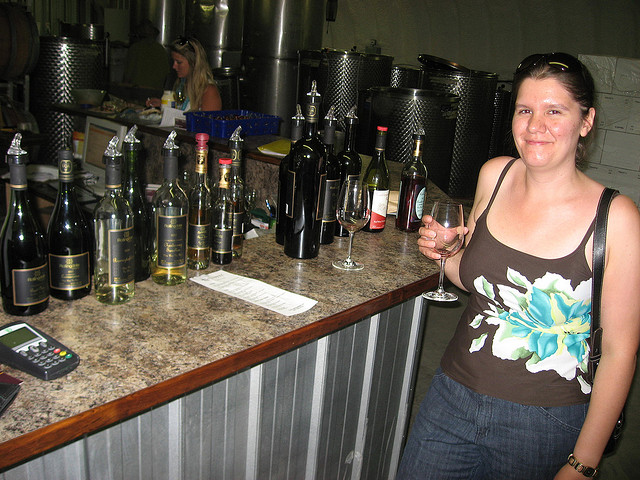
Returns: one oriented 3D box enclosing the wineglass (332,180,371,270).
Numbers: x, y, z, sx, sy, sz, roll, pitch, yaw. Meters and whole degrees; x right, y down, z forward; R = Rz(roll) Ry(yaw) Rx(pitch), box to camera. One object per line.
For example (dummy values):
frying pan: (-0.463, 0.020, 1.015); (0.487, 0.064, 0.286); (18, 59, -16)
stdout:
wineglass: (0.116, -0.073, 2.102); (0.130, 0.355, 0.195); (0, 18, -13)

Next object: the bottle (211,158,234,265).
bottle: (-0.373, -0.115, 1.990); (0.079, 0.408, 0.159); (0, 17, -12)

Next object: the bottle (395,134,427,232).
bottle: (0.436, -0.267, 2.492); (0.130, 0.475, 0.186); (6, 17, 8)

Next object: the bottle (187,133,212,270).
bottle: (-0.438, -0.141, 1.929); (0.080, 0.489, 0.160); (4, 17, -1)

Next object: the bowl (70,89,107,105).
bowl: (-2.016, -1.251, 4.593); (0.253, 0.127, 0.187); (-4, 19, -25)

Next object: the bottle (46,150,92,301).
bottle: (-0.795, -0.007, 1.651); (0.126, 0.384, 0.175); (-4, 19, -25)

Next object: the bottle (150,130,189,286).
bottle: (-0.516, -0.106, 1.785); (0.137, 0.522, 0.194); (-1, 18, -16)

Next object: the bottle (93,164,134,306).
bottle: (-0.656, -0.020, 1.634); (0.144, 0.447, 0.119); (1, 17, -9)

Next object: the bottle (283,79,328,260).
bottle: (-0.058, -0.271, 2.092); (0.163, 0.694, 0.201); (4, 17, -1)

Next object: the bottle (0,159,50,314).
bottle: (-0.865, -0.013, 1.521); (0.117, 0.454, 0.111); (4, 17, -1)

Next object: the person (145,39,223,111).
person: (-1.215, -1.630, 5.159); (0.456, 0.659, 0.803); (-1, 18, -15)

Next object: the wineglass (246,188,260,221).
wineglass: (-0.407, -0.254, 3.155); (0.074, 0.110, 0.199); (2, 17, -6)
